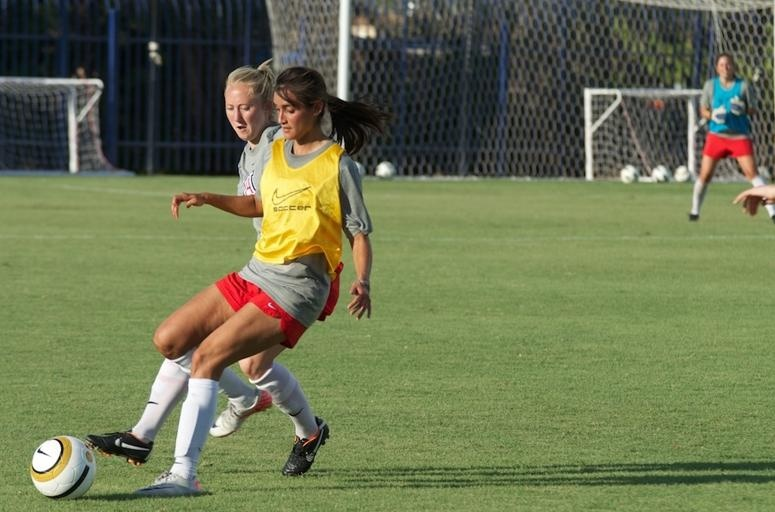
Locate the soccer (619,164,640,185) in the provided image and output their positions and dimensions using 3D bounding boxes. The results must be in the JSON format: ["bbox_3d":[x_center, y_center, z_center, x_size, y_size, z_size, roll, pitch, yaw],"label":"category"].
[{"bbox_3d":[4.390,-1.512,25.455,0.312,0.323,0.321,10,11,23],"label":"soccer"}]

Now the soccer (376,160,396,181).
[{"bbox_3d":[-0.059,-1.664,26.972,0.320,0.322,0.371,7,1,-15],"label":"soccer"}]

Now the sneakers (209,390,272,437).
[{"bbox_3d":[-1.268,1.350,11.945,0.484,0.215,0.170,-32,36,13],"label":"sneakers"}]

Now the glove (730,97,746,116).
[{"bbox_3d":[4.761,-2.065,19.001,0.238,0.244,0.178,2,-3,-17],"label":"glove"}]

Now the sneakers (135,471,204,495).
[{"bbox_3d":[-1.799,1.874,11.430,0.540,0.225,0.198,2,-13,-4],"label":"sneakers"}]

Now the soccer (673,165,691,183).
[{"bbox_3d":[5.446,-1.524,25.953,0.327,0.292,0.278,20,-28,-38],"label":"soccer"}]

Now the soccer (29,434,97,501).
[{"bbox_3d":[-2.662,1.702,11.487,0.477,0.487,0.462,-18,12,-10],"label":"soccer"}]

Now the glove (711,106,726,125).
[{"bbox_3d":[4.542,-1.945,19.119,0.197,0.226,0.108,2,8,10],"label":"glove"}]

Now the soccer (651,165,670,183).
[{"bbox_3d":[5.016,-1.510,25.635,0.329,0.322,0.364,2,9,5],"label":"soccer"}]

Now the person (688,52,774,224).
[{"bbox_3d":[4.691,-1.609,19.315,0.716,2.387,1.397,-2,9,-20],"label":"person"}]

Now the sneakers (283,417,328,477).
[{"bbox_3d":[-0.684,1.648,11.790,0.216,0.622,0.281,25,-8,21],"label":"sneakers"}]
